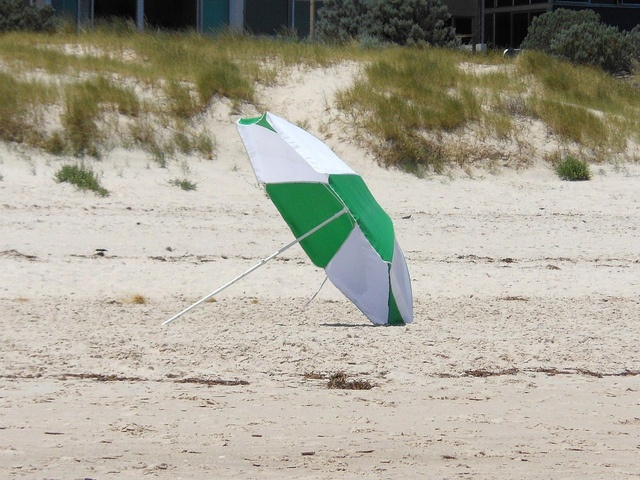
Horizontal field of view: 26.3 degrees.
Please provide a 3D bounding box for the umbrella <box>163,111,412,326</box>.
[{"bbox_3d":[0.294,-0.120,20.477,3.295,2.889,2.557,-20,-17,-43],"label":"umbrella"}]
